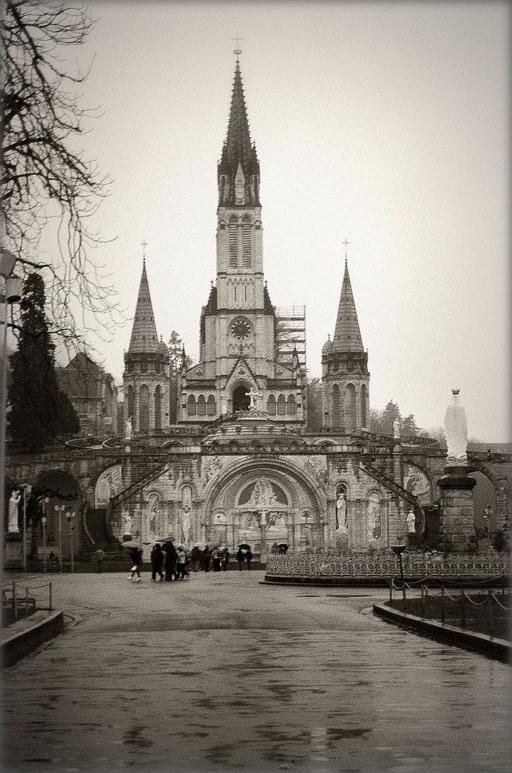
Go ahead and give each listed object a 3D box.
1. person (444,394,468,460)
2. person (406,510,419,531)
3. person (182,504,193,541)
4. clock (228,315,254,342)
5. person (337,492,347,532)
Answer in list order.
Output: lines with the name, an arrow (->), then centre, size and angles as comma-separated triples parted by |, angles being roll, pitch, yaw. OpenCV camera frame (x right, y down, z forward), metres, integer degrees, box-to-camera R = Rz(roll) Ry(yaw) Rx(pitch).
person -> 5.116, 1.113, 35.547 | 0.485, 1.631, 2.308 | -2, -10, 7
person -> 7.913, 6.755, 70.541 | 0.542, 1.073, 1.478 | -2, -10, 6
person -> -3.337, 6.826, 69.707 | 0.198, 1.847, 0.596 | -8, -12, 39
clock -> -1.016, -4.389, 106.571 | 1.630, 2.026, 0.082 | -1, 3, 5
person -> 4.430, 6.409, 71.338 | 0.553, 2.093, 0.660 | -2, -9, 2
